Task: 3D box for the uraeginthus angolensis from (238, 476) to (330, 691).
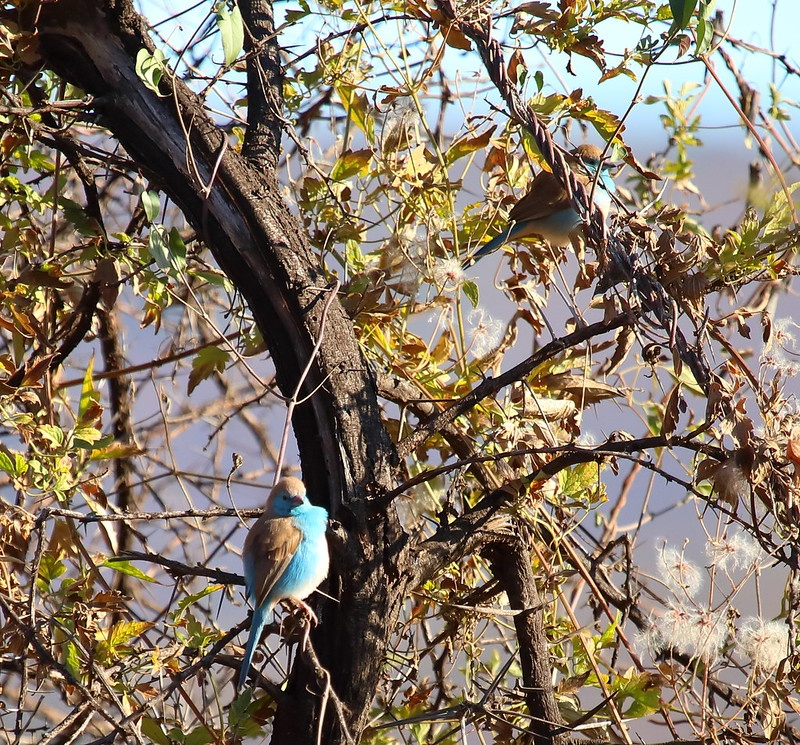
[{"bbox_3d":[-0.326,0.498,3.622,0.297,0.164,0.395,-26,-76,-11],"label":"uraeginthus angolensis"}]
